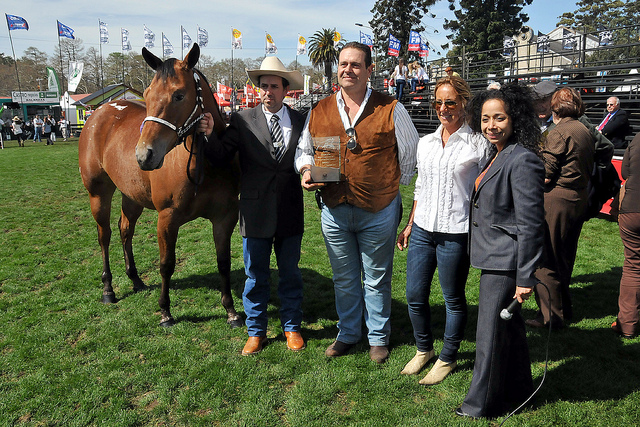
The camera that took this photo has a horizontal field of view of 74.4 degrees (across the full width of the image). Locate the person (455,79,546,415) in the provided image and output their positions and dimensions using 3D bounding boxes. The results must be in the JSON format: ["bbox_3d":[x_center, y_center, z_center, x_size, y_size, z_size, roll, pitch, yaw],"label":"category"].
[{"bbox_3d":[1.869,0.382,4.262,0.690,3.263,0.762,2,14,19],"label":"person"}]

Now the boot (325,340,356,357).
[{"bbox_3d":[0.271,1.667,5.253,0.378,0.163,0.135,3,-6,-27],"label":"boot"}]

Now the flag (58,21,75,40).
[{"bbox_3d":[-26.561,-18.866,43.992,1.235,1.534,3.097,-9,15,-29],"label":"flag"}]

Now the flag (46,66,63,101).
[{"bbox_3d":[-25.913,-12.508,40.983,1.001,3.221,3.010,-10,15,-30],"label":"flag"}]

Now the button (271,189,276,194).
[{"bbox_3d":[-0.574,-0.276,5.160,0.039,0.038,0.008,-3,13,-4],"label":"button"}]

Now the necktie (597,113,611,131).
[{"bbox_3d":[6.010,-1.861,8.913,0.060,0.474,0.076,16,14,-25],"label":"necktie"}]

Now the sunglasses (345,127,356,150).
[{"bbox_3d":[0.353,-0.844,4.790,0.113,0.236,0.072,-1,13,4],"label":"sunglasses"}]

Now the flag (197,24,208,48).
[{"bbox_3d":[-13.863,-20.579,49.907,0.838,2.013,4.946,-5,14,-11],"label":"flag"}]

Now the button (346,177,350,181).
[{"bbox_3d":[0.324,-0.395,4.846,0.037,0.036,0.006,2,14,17],"label":"button"}]

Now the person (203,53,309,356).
[{"bbox_3d":[-0.723,-0.169,5.573,1.130,3.577,1.515,-3,13,-2],"label":"person"}]

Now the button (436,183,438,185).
[{"bbox_3d":[1.288,-0.328,4.630,0.026,0.025,0.006,-1,1,3],"label":"button"}]

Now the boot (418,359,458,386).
[{"bbox_3d":[1.345,1.782,4.837,0.587,0.244,0.196,-1,-12,-36],"label":"boot"}]

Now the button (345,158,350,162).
[{"bbox_3d":[0.313,-0.610,4.831,0.043,0.042,0.012,-1,13,3],"label":"button"}]

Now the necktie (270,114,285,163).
[{"bbox_3d":[-0.523,-0.924,5.172,0.153,0.555,0.155,-6,14,-16],"label":"necktie"}]

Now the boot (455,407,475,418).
[{"bbox_3d":[1.495,2.058,4.379,0.165,0.055,0.059,8,17,35],"label":"boot"}]

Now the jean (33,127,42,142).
[{"bbox_3d":[-20.796,-5.788,31.102,0.611,1.041,1.223,-11,16,-33],"label":"jean"}]

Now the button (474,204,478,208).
[{"bbox_3d":[1.601,-0.080,4.311,0.008,0.034,0.039,-12,17,-37],"label":"button"}]

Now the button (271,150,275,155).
[{"bbox_3d":[-0.574,-0.742,5.144,0.055,0.052,0.013,2,1,-9],"label":"button"}]

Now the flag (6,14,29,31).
[{"bbox_3d":[-28.784,-17.981,40.069,1.478,1.624,4.051,-11,16,-34],"label":"flag"}]

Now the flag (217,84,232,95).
[{"bbox_3d":[-9.873,-12.816,43.703,1.235,0.379,1.271,-2,5,-7],"label":"flag"}]

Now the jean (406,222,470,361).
[{"bbox_3d":[1.321,0.894,4.768,0.675,1.528,0.312,3,14,20],"label":"jean"}]

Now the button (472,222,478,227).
[{"bbox_3d":[1.598,0.112,4.322,0.009,0.042,0.054,-9,15,-26],"label":"button"}]

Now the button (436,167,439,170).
[{"bbox_3d":[1.289,-0.496,4.616,0.024,0.023,0.006,0,7,2],"label":"button"}]
